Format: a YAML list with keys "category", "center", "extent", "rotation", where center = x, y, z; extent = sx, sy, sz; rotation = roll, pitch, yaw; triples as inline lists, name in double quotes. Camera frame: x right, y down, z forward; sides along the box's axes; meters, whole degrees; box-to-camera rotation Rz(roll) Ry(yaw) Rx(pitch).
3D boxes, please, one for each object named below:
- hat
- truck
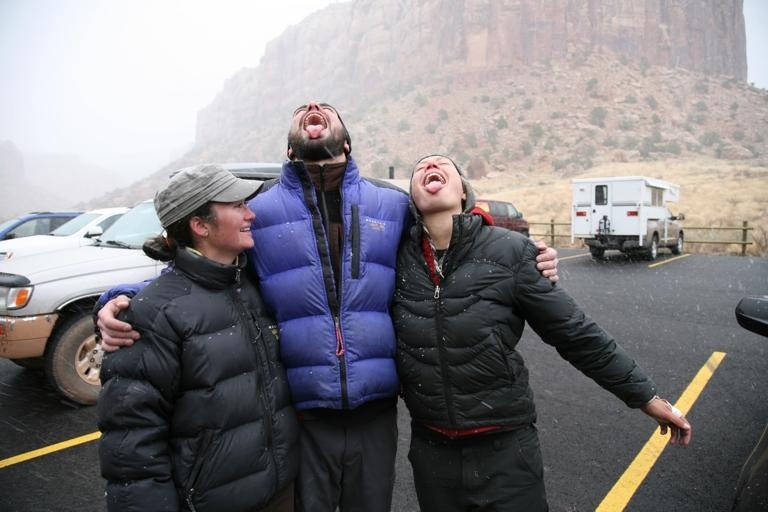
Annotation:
- category: "hat"
  center: [-1.175, -0.451, 3.455]
  extent: [0.741, 0.352, 0.535]
  rotation: [-14, 7, -3]
- category: "truck"
  center: [8.782, -1.365, 18.377]
  extent: [2.522, 2.551, 4.518]
  rotation: [2, 7, 39]
